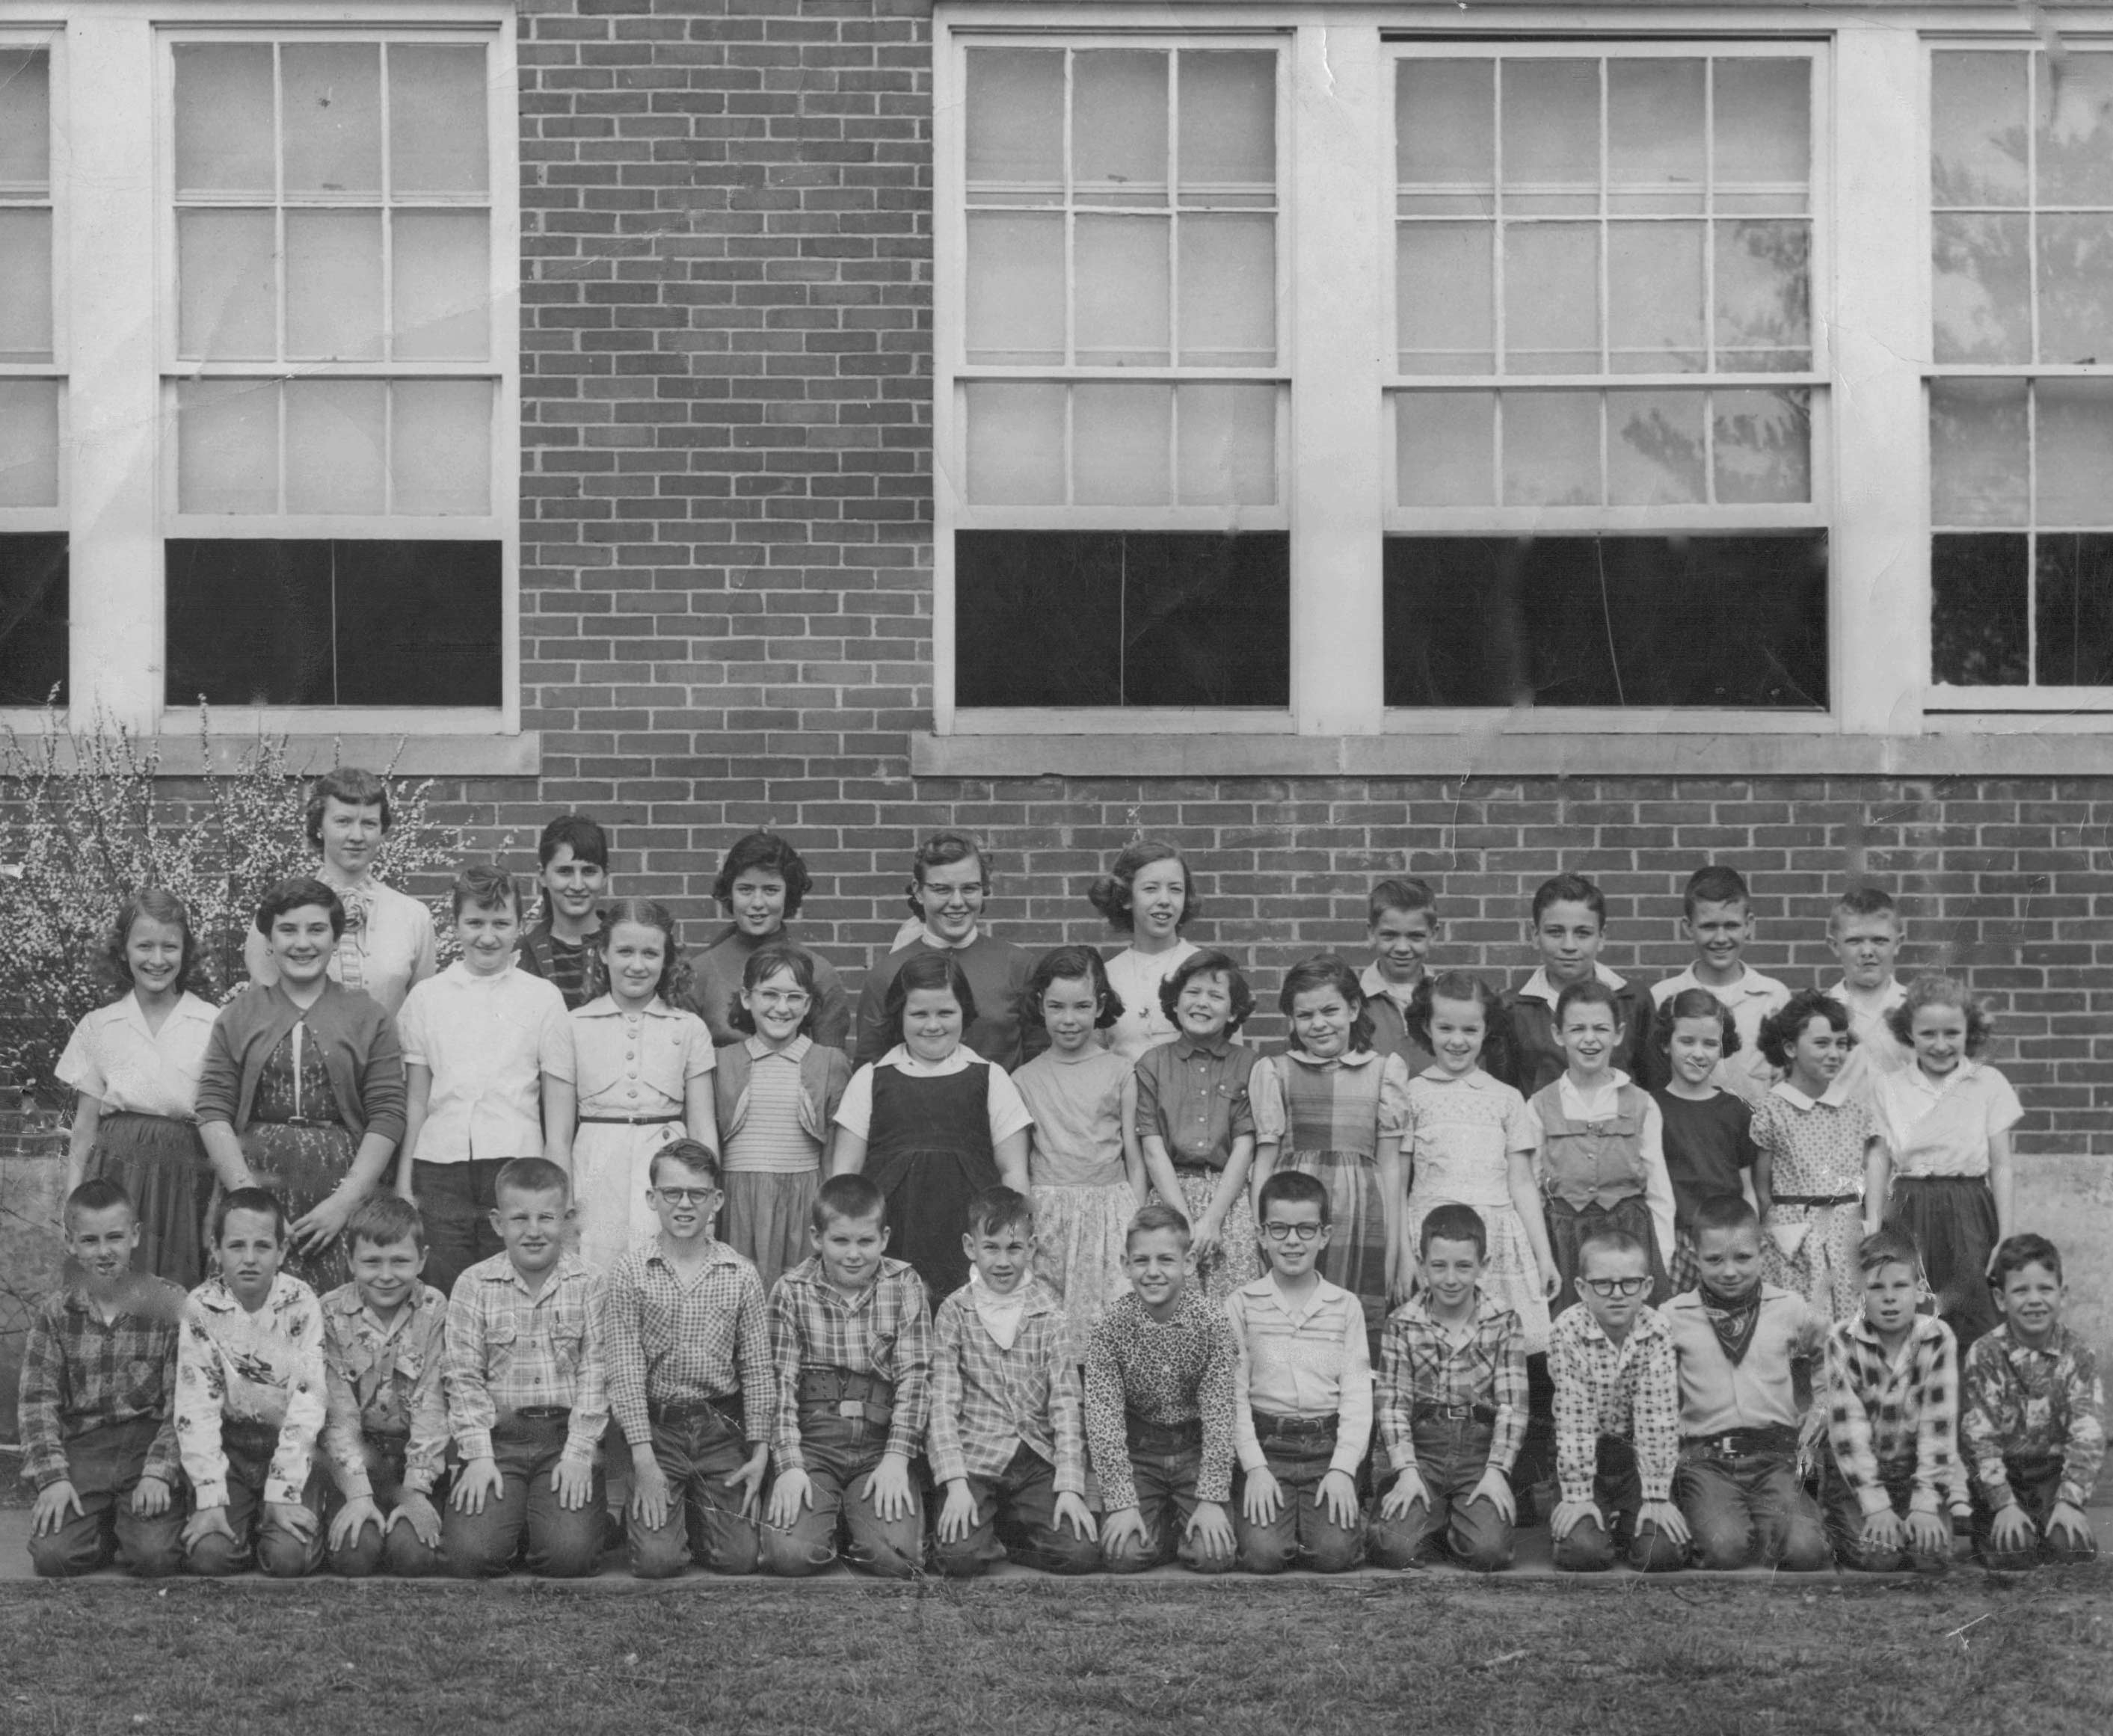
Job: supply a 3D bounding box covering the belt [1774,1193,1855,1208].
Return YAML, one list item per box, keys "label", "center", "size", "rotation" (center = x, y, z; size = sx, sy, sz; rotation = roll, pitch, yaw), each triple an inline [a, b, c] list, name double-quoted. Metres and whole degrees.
- label: "belt"
  center: [2.209, 0.967, 12.923]
  size: [0.225, 0.036, 0.048]
  rotation: [-1, 0, 8]

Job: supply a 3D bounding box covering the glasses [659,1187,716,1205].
- label: "glasses"
  center: [-1.023, 0.914, 12.318]
  size: [0.171, 0.052, 0.092]
  rotation: [-1, 0, -9]
